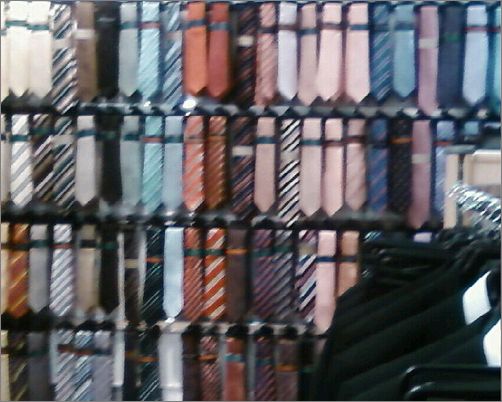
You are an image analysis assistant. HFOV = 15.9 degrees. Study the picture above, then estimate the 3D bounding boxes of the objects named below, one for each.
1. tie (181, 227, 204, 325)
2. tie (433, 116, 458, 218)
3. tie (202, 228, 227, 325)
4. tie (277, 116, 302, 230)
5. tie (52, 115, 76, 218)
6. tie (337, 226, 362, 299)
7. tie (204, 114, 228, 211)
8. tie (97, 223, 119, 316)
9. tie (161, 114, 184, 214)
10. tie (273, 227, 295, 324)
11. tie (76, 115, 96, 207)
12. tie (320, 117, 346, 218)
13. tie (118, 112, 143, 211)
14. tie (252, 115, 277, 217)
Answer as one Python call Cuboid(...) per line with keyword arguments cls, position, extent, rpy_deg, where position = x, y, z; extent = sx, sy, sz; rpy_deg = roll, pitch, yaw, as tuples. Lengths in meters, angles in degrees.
Cuboid(cls="tie", position=(-0.151, 0.192, 4.821), extent=(0.064, 0.244, 0.017), rpy_deg=(-2, -1, 33))
Cuboid(cls="tie", position=(0.515, -0.082, 4.808), extent=(0.057, 0.272, 0.049), rpy_deg=(6, -1, 28))
Cuboid(cls="tie", position=(-0.089, 0.196, 4.828), extent=(0.074, 0.254, 0.034), rpy_deg=(2, 3, 40))
Cuboid(cls="tie", position=(0.119, -0.095, 4.826), extent=(0.081, 0.308, 0.046), rpy_deg=(-3, -4, 37))
Cuboid(cls="tie", position=(-0.499, -0.122, 4.838), extent=(0.076, 0.251, 0.010), rpy_deg=(-1, 0, 31))
Cuboid(cls="tie", position=(0.257, 0.167, 4.817), extent=(0.081, 0.184, 0.071), rpy_deg=(0, -5, 13))
Cuboid(cls="tie", position=(-0.101, -0.122, 4.832), extent=(0.038, 0.282, 0.072), rpy_deg=(-1, -3, 43))
Cuboid(cls="tie", position=(-0.381, 0.186, 4.839), extent=(0.047, 0.211, 0.044), rpy_deg=(-4, 10, -26))
Cuboid(cls="tie", position=(-0.197, -0.113, 4.834), extent=(0.063, 0.249, 0.029), rpy_deg=(0, -3, 28))
Cuboid(cls="tie", position=(0.077, 0.199, 4.824), extent=(0.076, 0.263, 0.057), rpy_deg=(8, -32, -12))
Cuboid(cls="tie", position=(-0.439, -0.112, 4.836), extent=(0.071, 0.246, 0.010), rpy_deg=(-2, -3, 34))
Cuboid(cls="tie", position=(0.234, -0.093, 4.820), extent=(0.070, 0.256, 0.037), rpy_deg=(1, 0, 29))
Cuboid(cls="tie", position=(-0.325, -0.117, 4.836), extent=(0.028, 0.225, 0.065), rpy_deg=(0, -1, 41))
Cuboid(cls="tie", position=(0.058, -0.100, 4.835), extent=(0.068, 0.246, 0.063), rpy_deg=(5, 4, 38))
